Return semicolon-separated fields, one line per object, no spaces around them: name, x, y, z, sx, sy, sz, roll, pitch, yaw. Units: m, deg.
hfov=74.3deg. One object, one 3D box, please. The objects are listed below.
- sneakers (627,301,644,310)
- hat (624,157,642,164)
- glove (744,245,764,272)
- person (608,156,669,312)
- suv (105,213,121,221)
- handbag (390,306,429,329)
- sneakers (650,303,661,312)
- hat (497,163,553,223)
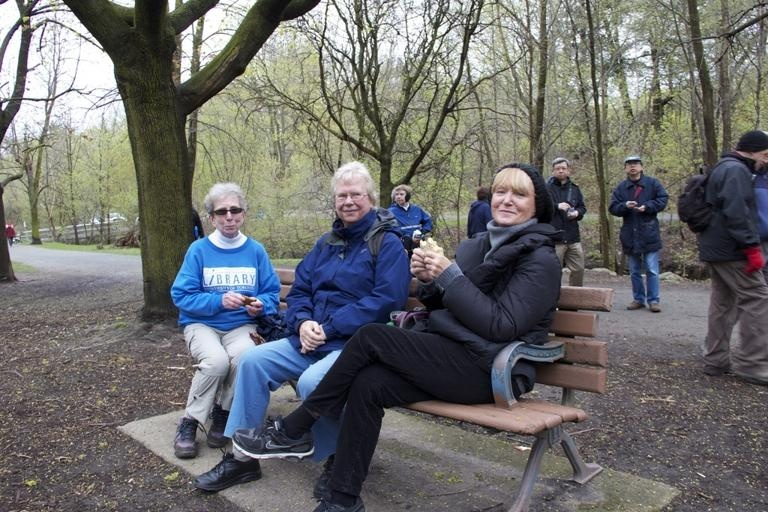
sneakers;4.580;0.888;9.210;0.381;0.178;0.126;-2;0;-13
hat;4.314;-1.683;8.816;0.223;0.124;0.218;1;4;33
glove;4.031;0.028;5.547;0.221;0.304;0.175;-10;7;-1
person;4.509;-0.424;8.957;0.848;2.772;0.786;1;5;30
suv;-24.981;-3.678;46.997;1.208;0.740;3.457;-3;4;-26
handbag;0.224;0.525;4.360;0.229;0.101;0.179;4;-1;-19
sneakers;4.759;0.889;8.856;0.212;0.152;0.194;-1;4;13
hat;1.247;-0.565;4.374;0.369;0.485;0.170;-17;14;-10
